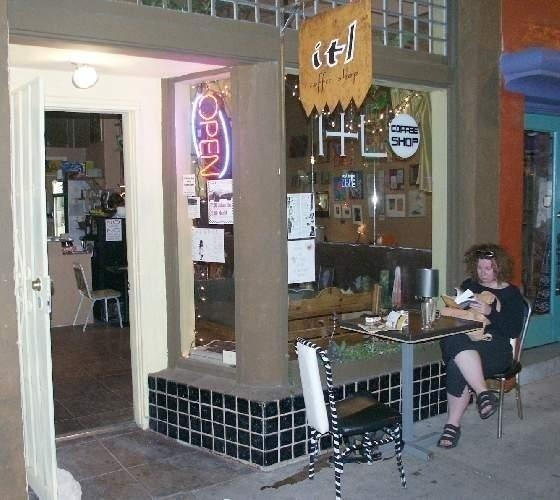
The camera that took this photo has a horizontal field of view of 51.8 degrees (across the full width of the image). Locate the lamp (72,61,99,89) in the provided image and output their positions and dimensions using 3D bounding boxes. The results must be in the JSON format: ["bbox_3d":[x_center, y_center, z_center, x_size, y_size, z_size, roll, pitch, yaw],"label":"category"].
[{"bbox_3d":[-1.377,-1.230,4.066,0.156,0.154,0.184,-3,6,-21],"label":"lamp"}]

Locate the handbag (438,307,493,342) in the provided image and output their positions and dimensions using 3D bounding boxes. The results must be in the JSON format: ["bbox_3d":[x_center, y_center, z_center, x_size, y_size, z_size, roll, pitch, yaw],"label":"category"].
[{"bbox_3d":[1.401,0.515,4.338,0.315,0.159,0.228,-3,6,-34],"label":"handbag"}]

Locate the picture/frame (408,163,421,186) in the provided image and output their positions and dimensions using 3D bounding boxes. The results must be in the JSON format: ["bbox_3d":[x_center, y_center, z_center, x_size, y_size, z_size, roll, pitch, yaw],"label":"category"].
[{"bbox_3d":[1.142,-0.651,4.914,0.020,0.240,0.189,1,1,37],"label":"picture/frame"}]

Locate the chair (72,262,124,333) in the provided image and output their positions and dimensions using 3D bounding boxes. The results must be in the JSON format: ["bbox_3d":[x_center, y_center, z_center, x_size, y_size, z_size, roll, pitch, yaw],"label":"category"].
[{"bbox_3d":[-2.665,0.626,8.355,0.695,0.957,1.028,-3,6,-22],"label":"chair"}]

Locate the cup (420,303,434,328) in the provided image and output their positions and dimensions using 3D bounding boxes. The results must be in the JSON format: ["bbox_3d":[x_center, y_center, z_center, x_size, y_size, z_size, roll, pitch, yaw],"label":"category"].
[{"bbox_3d":[1.064,0.442,4.132,0.088,0.196,0.253,1,6,11],"label":"cup"}]

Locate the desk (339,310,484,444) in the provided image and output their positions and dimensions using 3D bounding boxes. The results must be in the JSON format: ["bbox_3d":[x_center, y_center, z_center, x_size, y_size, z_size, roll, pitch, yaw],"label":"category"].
[{"bbox_3d":[0.948,0.875,4.360,0.892,1.015,0.860,-5,6,-44],"label":"desk"}]

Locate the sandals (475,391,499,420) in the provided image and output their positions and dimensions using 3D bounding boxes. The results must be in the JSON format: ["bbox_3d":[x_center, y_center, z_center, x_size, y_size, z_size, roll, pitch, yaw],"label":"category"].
[{"bbox_3d":[1.494,1.120,4.141,0.179,0.221,0.132,-6,8,-41],"label":"sandals"}]

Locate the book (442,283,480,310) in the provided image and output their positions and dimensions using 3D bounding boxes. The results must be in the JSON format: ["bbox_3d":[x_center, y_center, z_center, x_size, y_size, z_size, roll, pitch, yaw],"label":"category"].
[{"bbox_3d":[1.368,0.343,4.334,0.161,0.104,0.220,1,0,-29],"label":"book"}]

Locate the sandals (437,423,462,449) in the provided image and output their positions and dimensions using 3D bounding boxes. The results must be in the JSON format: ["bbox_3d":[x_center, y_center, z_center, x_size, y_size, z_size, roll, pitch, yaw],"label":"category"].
[{"bbox_3d":[1.268,1.388,4.302,0.092,0.102,0.241,-2,0,25],"label":"sandals"}]
